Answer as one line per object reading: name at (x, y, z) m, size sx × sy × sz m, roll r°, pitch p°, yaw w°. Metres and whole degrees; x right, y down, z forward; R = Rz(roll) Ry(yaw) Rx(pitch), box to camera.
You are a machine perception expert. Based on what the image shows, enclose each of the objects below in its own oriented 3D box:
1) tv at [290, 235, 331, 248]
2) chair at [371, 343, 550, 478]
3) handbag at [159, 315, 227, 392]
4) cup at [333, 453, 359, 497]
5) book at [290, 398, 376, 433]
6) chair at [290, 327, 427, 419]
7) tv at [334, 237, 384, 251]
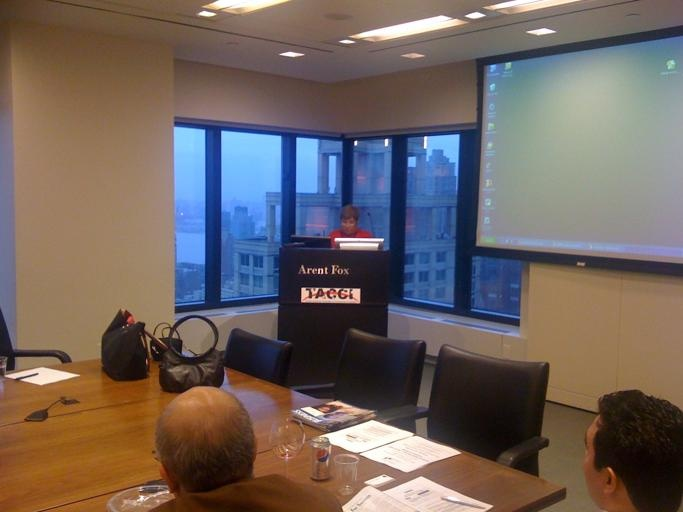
tv at (-0.326, -0.155, 5.418) m, size 0.317 × 0.104 × 0.402 m, roll -2°, pitch 8°, yaw -22°
chair at (0.840, 0.827, 3.287) m, size 0.743 × 1.044 × 0.789 m, roll -4°, pitch -12°, yaw 42°
handbag at (-1.114, 0.688, 3.806) m, size 0.617 × 0.712 × 0.378 m, roll 2°, pitch -17°, yaw -15°
cup at (0.016, 0.844, 2.028) m, size 0.120 × 0.136 × 0.124 m, roll 0°, pitch -5°, yaw 0°
book at (-0.055, 0.824, 2.679) m, size 0.235 × 0.051 × 0.238 m, roll -1°, pitch 2°, yaw -44°
chair at (0.123, 0.672, 3.143) m, size 0.479 × 0.678 × 0.484 m, roll 1°, pitch -9°, yaw 37°
tv at (0.168, -0.108, 4.875) m, size 0.426 × 0.098 × 0.193 m, roll 1°, pitch 8°, yaw -4°
